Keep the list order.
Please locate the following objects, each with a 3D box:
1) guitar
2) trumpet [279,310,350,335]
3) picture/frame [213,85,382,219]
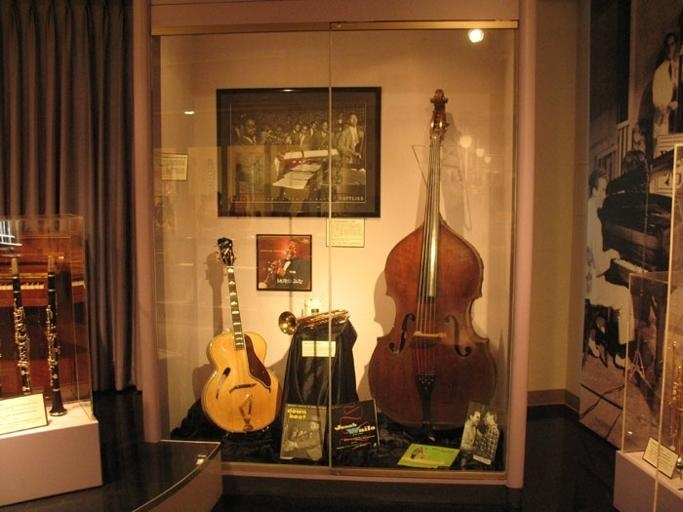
[{"bbox_3d":[-0.628,0.462,4.092,0.420,1.230,0.120,-7,17,-9],"label":"guitar"},{"bbox_3d":[-0.145,0.378,4.181,0.449,0.180,0.162,-7,11,-29],"label":"trumpet"},{"bbox_3d":[-0.255,-0.618,4.104,0.978,0.756,0.102,0,1,5],"label":"picture/frame"}]
